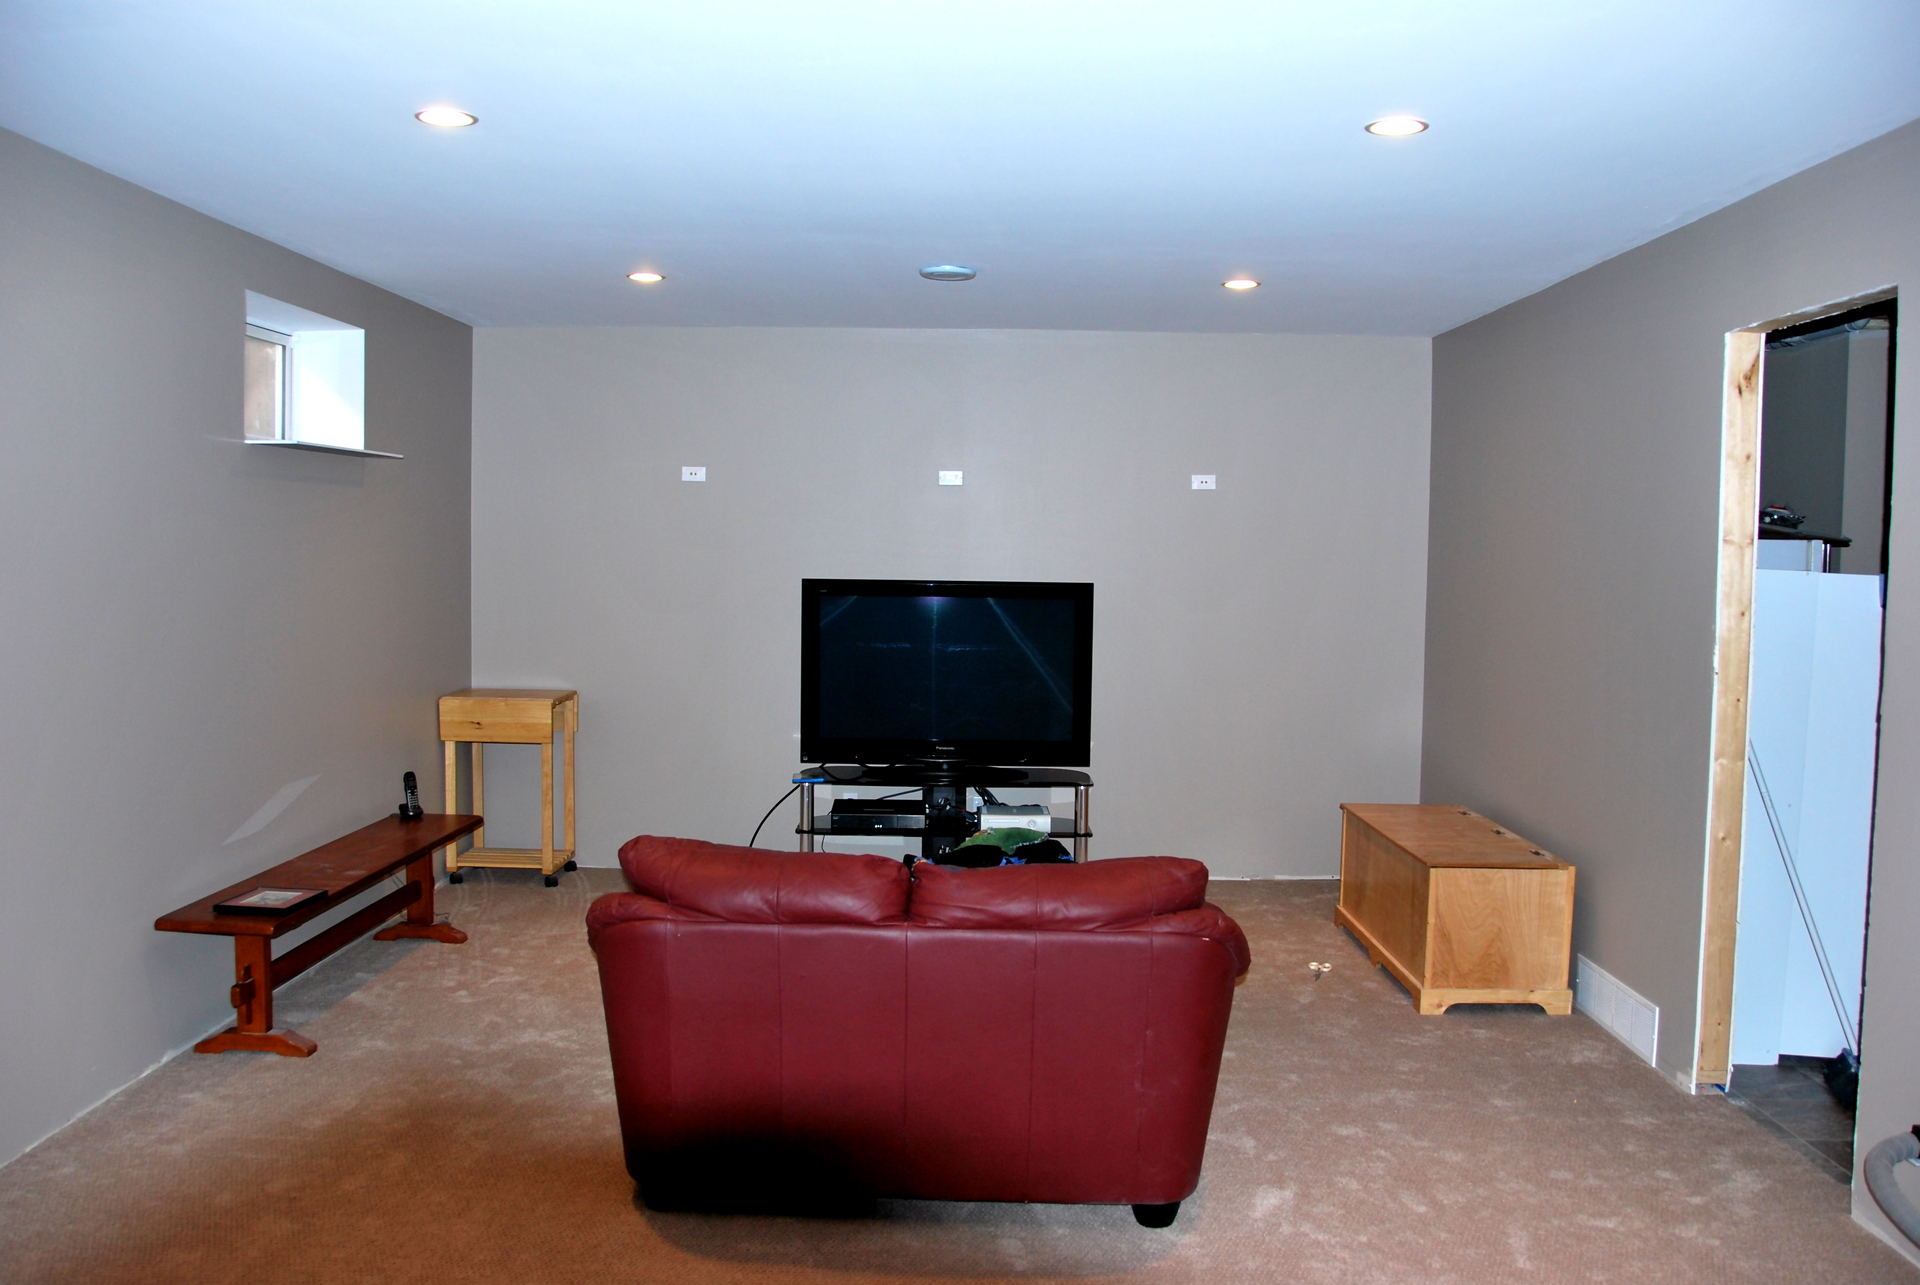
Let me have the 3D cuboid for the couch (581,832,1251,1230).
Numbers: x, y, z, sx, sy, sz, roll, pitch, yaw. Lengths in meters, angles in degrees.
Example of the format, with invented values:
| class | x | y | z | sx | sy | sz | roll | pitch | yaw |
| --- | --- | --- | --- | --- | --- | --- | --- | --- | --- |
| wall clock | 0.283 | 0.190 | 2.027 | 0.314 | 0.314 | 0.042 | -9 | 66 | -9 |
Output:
| class | x | y | z | sx | sy | sz | roll | pitch | yaw |
| --- | --- | --- | --- | --- | --- | --- | --- | --- | --- |
| couch | -0.107 | 1.217 | 4.307 | 2.013 | 1.107 | 1.015 | 1 | 1 | 3 |

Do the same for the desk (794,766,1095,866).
| class | x | y | z | sx | sy | sz | roll | pitch | yaw |
| --- | --- | --- | --- | --- | --- | --- | --- | --- | --- |
| desk | -0.053 | 1.038 | 6.554 | 1.380 | 0.804 | 0.448 | 1 | 6 | -1 |

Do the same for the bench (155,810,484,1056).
| class | x | y | z | sx | sy | sz | roll | pitch | yaw |
| --- | --- | --- | --- | --- | --- | --- | --- | --- | --- |
| bench | -2.538 | 1.133 | 5.321 | 0.586 | 0.639 | 1.213 | 3 | 13 | 8 |

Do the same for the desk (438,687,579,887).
| class | x | y | z | sx | sy | sz | roll | pitch | yaw |
| --- | --- | --- | --- | --- | --- | --- | --- | --- | --- |
| desk | -2.307 | 0.723 | 6.782 | 0.639 | 0.997 | 0.548 | 0 | 14 | -4 |
